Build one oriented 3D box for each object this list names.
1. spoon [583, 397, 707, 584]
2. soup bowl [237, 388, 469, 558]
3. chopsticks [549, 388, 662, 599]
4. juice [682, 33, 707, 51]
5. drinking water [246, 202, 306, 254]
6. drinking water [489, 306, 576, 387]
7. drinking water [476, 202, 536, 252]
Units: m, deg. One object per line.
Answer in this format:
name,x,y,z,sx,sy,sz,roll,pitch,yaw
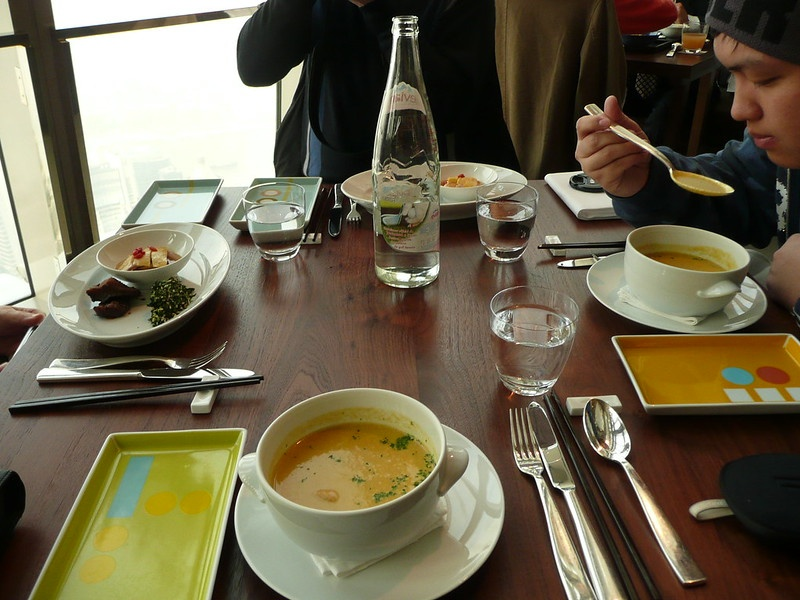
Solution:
spoon,0.315,0.236,0.749,0.048,0.037,0.254,-6,34,-3
soup bowl,-0.055,0.206,0.691,0.215,0.095,0.206,-2,41,2
chopsticks,0.253,0.243,0.783,0.036,0.027,0.317,-19,44,-4
juice,1.793,-1.566,3.427,0.107,0.088,0.121,2,35,8
drinking water,-0.282,-0.189,1.294,0.111,0.107,0.129,-1,32,-4
drinking water,0.210,0.062,0.910,0.124,0.116,0.149,4,41,10
drinking water,0.246,-0.156,1.284,0.135,0.118,0.149,-1,12,-13
